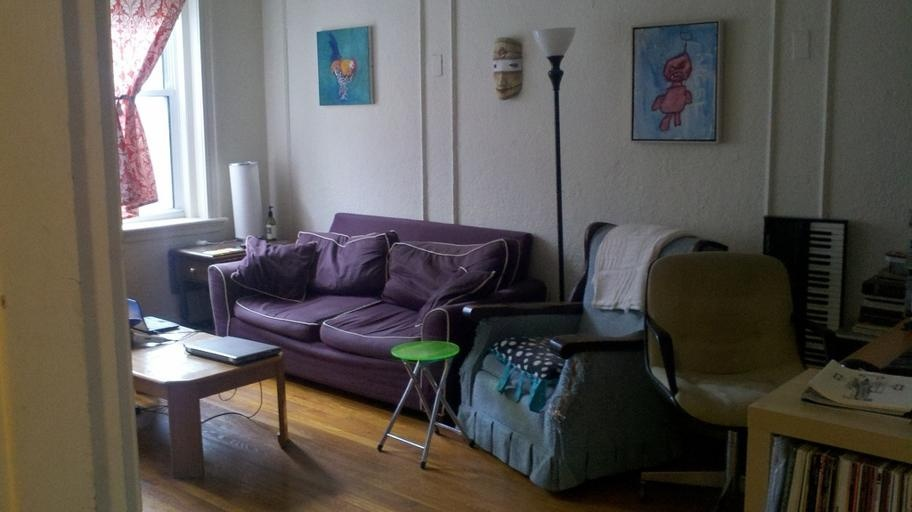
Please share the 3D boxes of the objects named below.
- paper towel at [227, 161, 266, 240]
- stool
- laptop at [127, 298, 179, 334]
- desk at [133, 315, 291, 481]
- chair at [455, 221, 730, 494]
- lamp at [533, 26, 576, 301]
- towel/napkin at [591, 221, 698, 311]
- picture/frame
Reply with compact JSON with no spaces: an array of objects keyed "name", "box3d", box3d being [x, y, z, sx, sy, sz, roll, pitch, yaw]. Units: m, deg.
[{"name":"paper towel","box3d":[-1.754,-0.455,5.772,0.297,0.618,0.257,-5,12,-20]},{"name":"stool","box3d":[-0.162,0.821,4.008,0.465,0.571,0.423,-7,8,-38]},{"name":"laptop","box3d":[-2.033,0.396,4.686,0.266,0.178,0.322,-5,19,-42]},{"name":"desk","box3d":[-1.625,0.841,4.167,1.084,0.470,0.769,1,7,32]},{"name":"chair","box3d":[0.715,0.493,3.990,1.451,1.117,1.364,1,10,13]},{"name":"lamp","box3d":[0.658,-0.701,4.506,0.266,1.373,0.247,4,37,18]},{"name":"towel/napkin","box3d":[1.120,0.103,4.147,0.213,0.479,0.523,22,-10,-42]},{"name":"picture/frame","box3d":[1.319,-1.031,4.221,0.525,0.687,0.071,5,14,31]}]
